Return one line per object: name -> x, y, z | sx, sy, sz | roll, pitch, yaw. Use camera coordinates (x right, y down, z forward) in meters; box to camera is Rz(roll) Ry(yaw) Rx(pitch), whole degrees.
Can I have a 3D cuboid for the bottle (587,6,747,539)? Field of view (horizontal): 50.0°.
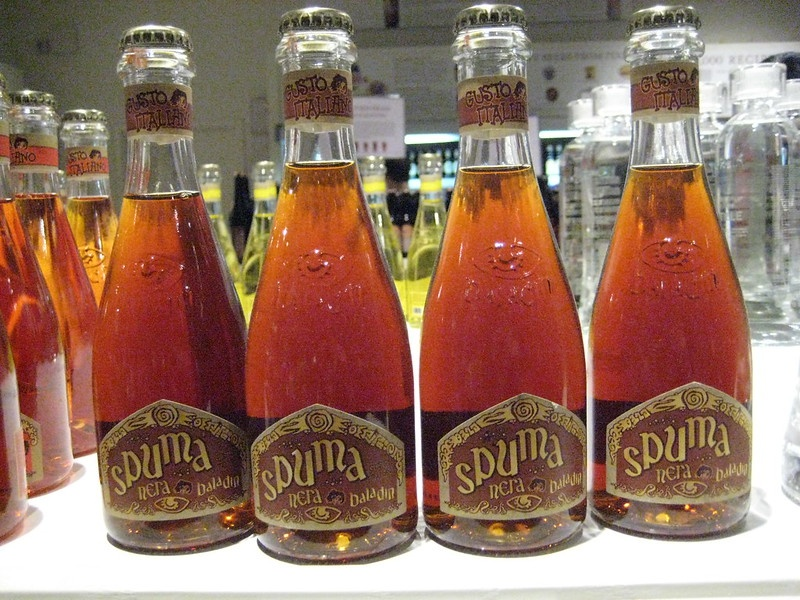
bottle -> 0.257, 0.026, 0.827 | 0.147, 0.396, 0.112 | -1, 11, 19
